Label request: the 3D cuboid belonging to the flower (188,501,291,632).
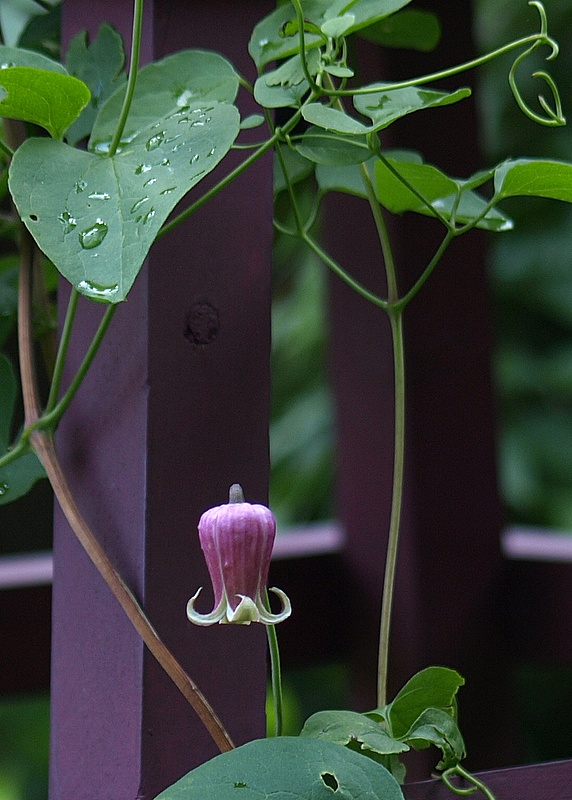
[{"bbox_3d":[-0.038,0.121,0.713,0.072,0.092,0.054,0,-37,-7],"label":"flower"}]
